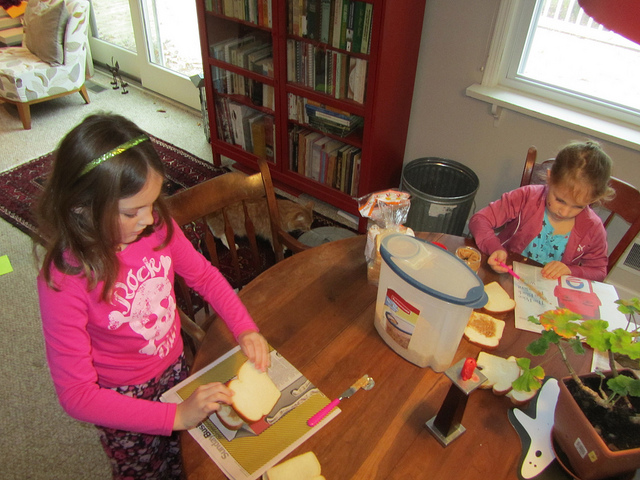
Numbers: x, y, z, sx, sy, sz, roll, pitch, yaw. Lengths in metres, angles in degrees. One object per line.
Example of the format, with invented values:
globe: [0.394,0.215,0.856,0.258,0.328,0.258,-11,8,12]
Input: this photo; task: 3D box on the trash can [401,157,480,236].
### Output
trash can: [0.691,-0.243,2.610,0.256,0.427,0.268,27,51,25]

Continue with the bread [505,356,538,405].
bread: [0.598,0.445,1.356,0.091,0.024,0.099,-11,39,1]

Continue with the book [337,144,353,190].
book: [0.175,-0.501,3.077,0.034,0.274,0.189,18,40,19]

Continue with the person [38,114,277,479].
person: [-0.477,0.170,1.305,0.575,0.873,0.591,-21,40,-36]

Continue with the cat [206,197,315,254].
cat: [-0.322,-0.077,2.479,0.542,0.317,0.160,-1,54,-3]

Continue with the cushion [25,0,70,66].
cushion: [-2.311,-1.749,3.871,0.443,0.392,0.160,28,40,31]

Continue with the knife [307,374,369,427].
knife: [0.054,0.480,1.331,0.024,0.017,0.180,32,48,29]

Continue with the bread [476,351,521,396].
bread: [0.559,0.415,1.411,0.130,0.033,0.120,-19,35,-22]

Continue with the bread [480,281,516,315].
bread: [0.684,0.210,1.695,0.158,0.042,0.174,15,-5,24]

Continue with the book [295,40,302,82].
book: [-0.136,-1.129,2.908,0.064,0.240,0.013,23,34,28]

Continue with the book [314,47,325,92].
book: [0.001,-1.072,2.849,0.063,0.180,0.204,2,72,1]

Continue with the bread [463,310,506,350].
bread: [0.547,0.309,1.531,0.123,0.035,0.137,21,46,25]

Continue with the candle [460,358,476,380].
candle: [0.379,0.327,1.150,0.027,0.060,0.019,18,19,13]

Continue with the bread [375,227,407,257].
bread: [0.222,0.013,1.418,0.034,0.062,0.063,-21,54,-21]

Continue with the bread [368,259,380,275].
bread: [0.194,0.096,1.606,0.023,0.047,0.025,-17,45,-15]
